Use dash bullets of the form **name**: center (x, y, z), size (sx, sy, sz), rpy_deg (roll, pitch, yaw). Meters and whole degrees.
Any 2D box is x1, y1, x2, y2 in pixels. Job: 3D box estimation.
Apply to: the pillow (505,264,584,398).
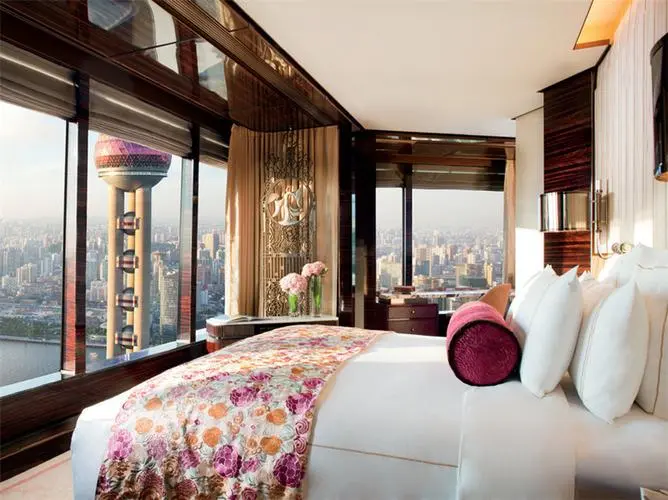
- **pillow**: center (1.102, 0.447, 2.596), size (0.158, 0.363, 0.567), rpy_deg (17, 13, 15)
